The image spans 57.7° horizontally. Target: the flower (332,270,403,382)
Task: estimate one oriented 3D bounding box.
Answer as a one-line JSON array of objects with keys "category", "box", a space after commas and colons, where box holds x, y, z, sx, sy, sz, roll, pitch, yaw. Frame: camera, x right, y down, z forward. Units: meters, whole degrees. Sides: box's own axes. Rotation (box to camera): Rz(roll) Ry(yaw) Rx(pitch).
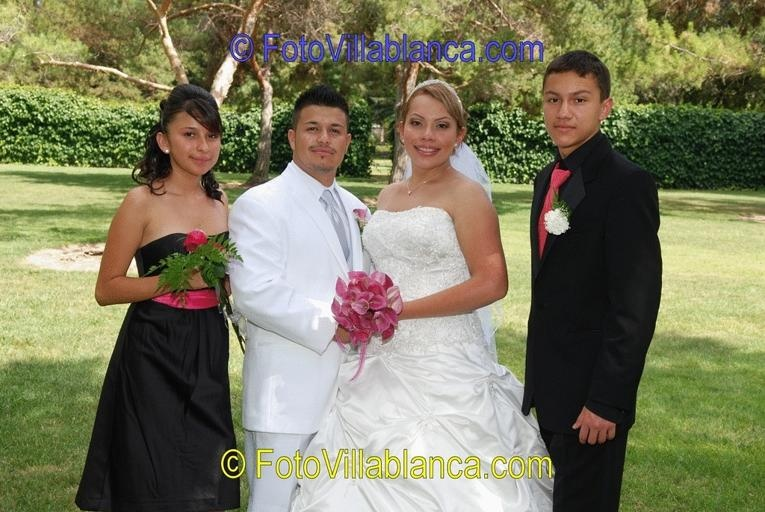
[{"category": "flower", "box": [-0.146, 0.471, 6.204, 0.619, 0.629, 0.241, 2, 12, 0]}]
